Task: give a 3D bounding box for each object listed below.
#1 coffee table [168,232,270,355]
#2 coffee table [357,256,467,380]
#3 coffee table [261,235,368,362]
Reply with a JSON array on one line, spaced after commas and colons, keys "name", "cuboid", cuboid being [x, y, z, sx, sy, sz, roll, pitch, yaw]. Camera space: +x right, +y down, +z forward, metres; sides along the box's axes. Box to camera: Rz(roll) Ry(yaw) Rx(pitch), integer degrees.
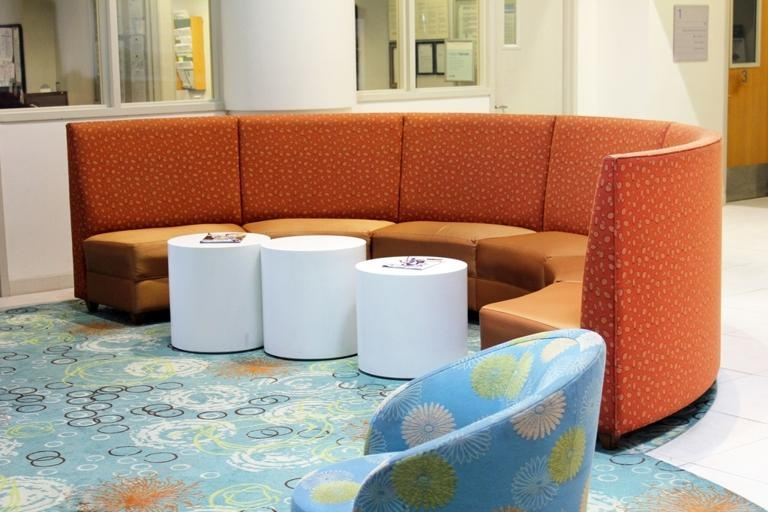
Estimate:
[{"name": "coffee table", "cuboid": [-1.058, 0.220, 4.243, 0.788, 0.789, 0.737, 4, 12, 14]}, {"name": "coffee table", "cuboid": [0.201, 0.377, 3.782, 0.724, 0.622, 0.661, -1, 8, 20]}, {"name": "coffee table", "cuboid": [-0.491, 0.342, 4.073, 0.662, 0.649, 0.647, 1, -2, 22]}]
